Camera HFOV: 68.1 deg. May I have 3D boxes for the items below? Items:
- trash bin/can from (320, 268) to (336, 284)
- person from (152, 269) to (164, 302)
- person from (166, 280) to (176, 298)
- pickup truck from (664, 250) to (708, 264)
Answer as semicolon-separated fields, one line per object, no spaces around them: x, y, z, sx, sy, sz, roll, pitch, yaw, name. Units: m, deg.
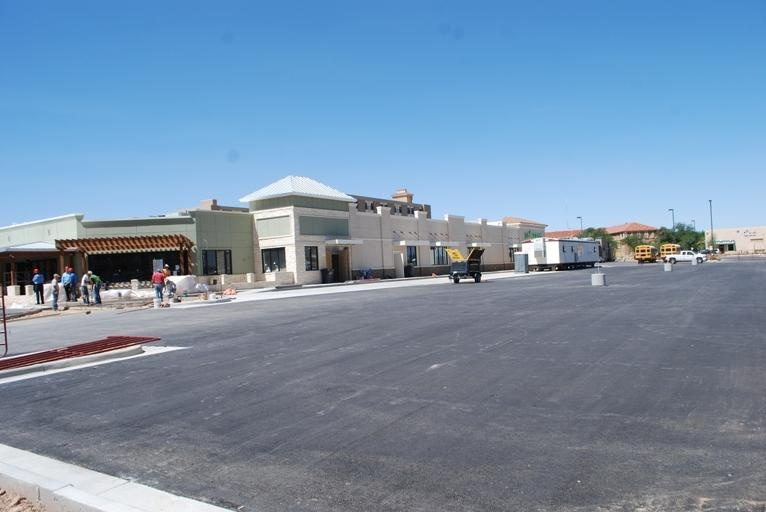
-4.751;1.800;51.275;1.266;1.666;1.521;-4;-4;33;trash bin/can
-12.592;1.752;31.783;0.562;1.726;1.471;-7;10;-22;person
-12.478;1.965;33.385;0.777;0.974;0.420;-4;-7;35;person
40.971;0.198;76.260;4.673;1.474;2.211;-4;-4;36;pickup truck
